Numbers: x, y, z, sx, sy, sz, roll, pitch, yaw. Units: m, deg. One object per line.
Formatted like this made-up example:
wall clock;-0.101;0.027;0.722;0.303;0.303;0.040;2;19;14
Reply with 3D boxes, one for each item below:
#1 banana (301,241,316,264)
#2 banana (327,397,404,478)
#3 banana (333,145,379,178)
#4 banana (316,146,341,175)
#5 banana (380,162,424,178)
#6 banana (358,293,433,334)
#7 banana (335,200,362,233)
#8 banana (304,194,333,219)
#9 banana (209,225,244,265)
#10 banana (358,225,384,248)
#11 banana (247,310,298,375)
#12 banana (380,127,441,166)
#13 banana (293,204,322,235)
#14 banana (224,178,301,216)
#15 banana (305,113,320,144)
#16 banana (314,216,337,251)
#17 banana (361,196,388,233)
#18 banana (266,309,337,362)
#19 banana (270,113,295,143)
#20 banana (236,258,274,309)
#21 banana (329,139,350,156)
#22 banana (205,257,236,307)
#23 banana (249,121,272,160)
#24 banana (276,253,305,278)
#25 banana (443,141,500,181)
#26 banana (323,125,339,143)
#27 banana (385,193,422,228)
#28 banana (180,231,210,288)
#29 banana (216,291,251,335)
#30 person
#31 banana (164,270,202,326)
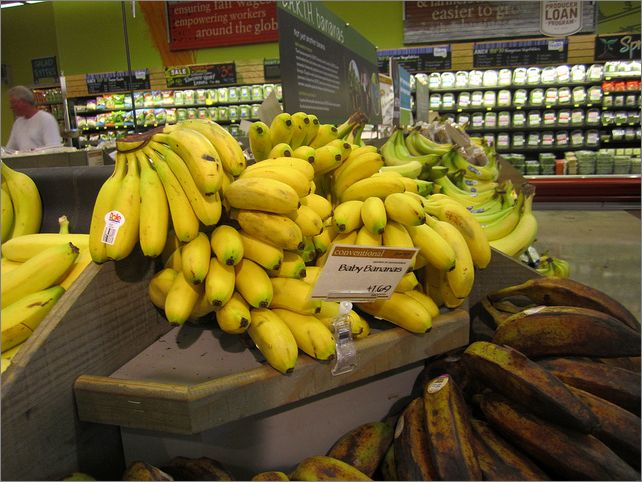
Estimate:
banana;-0.043;0.032;1.211;0.043;0.059;0.034;-13;10;-43
banana;0.133;0.548;1.203;0.110;0.068;0.203;22;20;34
banana;0.105;-0.230;1.277;0.174;0.065;0.074;-17;31;-25
banana;0.020;-0.243;1.272;0.081;0.073;0.058;0;17;0
banana;0.379;-0.324;1.937;0.172;0.059;0.158;-1;11;-3
banana;0.211;0.203;1.191;0.191;0.055;0.070;18;10;21
banana;0.077;-0.069;1.197;0.057;0.053;0.107;46;32;8
banana;-0.011;-0.100;1.250;0.091;0.048;0.033;29;11;-32
banana;-0.244;0.022;1.128;0.066;0.063;0.108;15;32;-41
banana;0.142;-0.007;1.216;0.048;0.023;0.068;-22;68;-21
banana;-0.122;0.249;1.100;0.061;0.078;0.174;32;22;-55
banana;0.476;-0.493;2.406;0.343;0.212;0.119;20;47;-40
banana;-0.043;-0.052;1.183;0.095;0.059;0.048;36;-4;-6
banana;-0.149;-0.129;1.095;0.172;0.078;0.086;8;28;16
banana;-0.028;-0.358;1.389;0.047;0.100;0.106;0;17;-1
banana;0.021;-0.024;1.253;0.038;0.046;0.144;-4;33;18
banana;0.151;-0.073;1.203;0.075;0.085;0.099;3;18;8
banana;-0.046;0.234;1.137;0.206;0.061;0.069;22;67;33
banana;-0.113;-0.338;1.295;0.083;0.094;0.078;-10;20;-30
banana;-0.171;0.111;1.134;0.066;0.064;0.134;-29;55;-5
banana;0.066;-0.279;1.288;0.070;0.044;0.035;4;-14;12
banana;-0.256;0.104;1.107;0.054;0.060;0.123;-11;49;26
banana;-0.185;-0.292;1.280;0.058;0.045;0.129;-2;-24;-1
banana;-0.075;0.067;1.129;0.048;0.048;0.087;-6;54;11
banana;0.998;-0.483;2.740;0.283;0.166;0.090;20;5;11
banana;0.034;-0.358;1.439;0.069;0.065;0.056;-6;18;-18
banana;0.244;-0.090;1.238;0.109;0.067;0.065;27;46;35
banana;-0.312;0.047;1.071;0.051;0.059;0.130;-21;27;28
banana;-0.217;0.187;1.058;0.062;0.066;0.109;-8;-10;-9
person;-3.436;-1.430;4.984;0.439;0.724;0.921;-15;23;-41
banana;-0.353;0.148;1.120;0.067;0.053;0.152;13;54;7
